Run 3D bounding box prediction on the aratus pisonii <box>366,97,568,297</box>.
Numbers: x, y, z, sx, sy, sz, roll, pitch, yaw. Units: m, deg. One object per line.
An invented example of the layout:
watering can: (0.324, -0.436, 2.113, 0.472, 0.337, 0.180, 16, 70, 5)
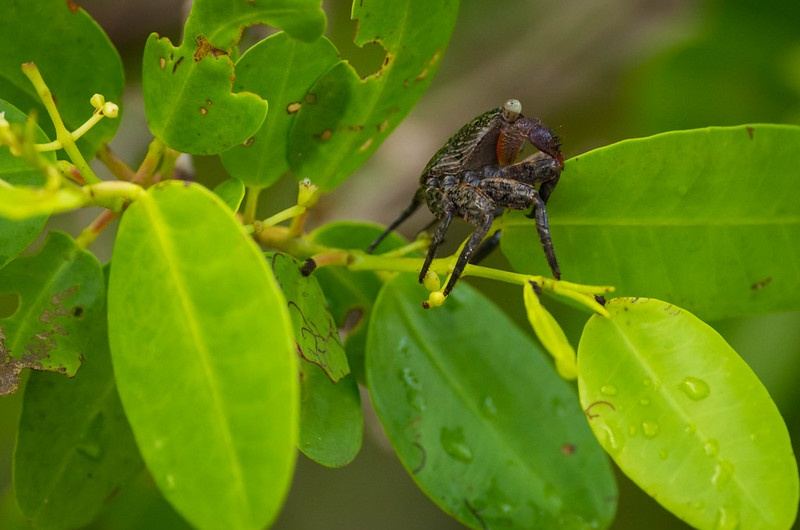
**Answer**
aratus pisonii: (0.150, -0.130, 1.508, 0.340, 0.256, 0.275, -11, 5, 19)
